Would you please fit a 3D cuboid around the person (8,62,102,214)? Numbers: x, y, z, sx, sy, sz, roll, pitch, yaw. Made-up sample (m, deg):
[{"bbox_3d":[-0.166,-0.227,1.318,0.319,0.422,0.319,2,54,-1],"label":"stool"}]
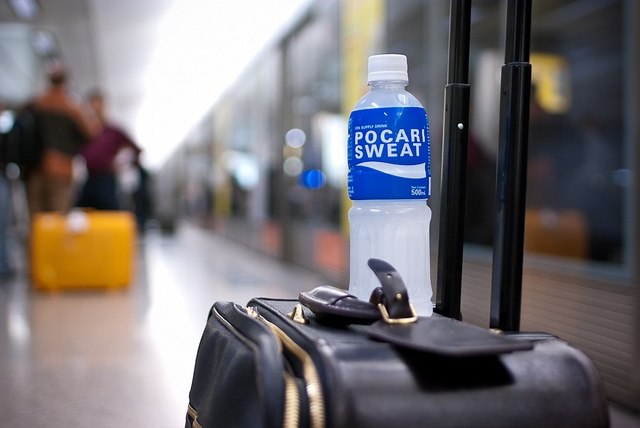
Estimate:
[{"bbox_3d":[-2.117,-0.590,3.898,0.383,1.194,0.682,1,5,-13],"label":"person"}]
